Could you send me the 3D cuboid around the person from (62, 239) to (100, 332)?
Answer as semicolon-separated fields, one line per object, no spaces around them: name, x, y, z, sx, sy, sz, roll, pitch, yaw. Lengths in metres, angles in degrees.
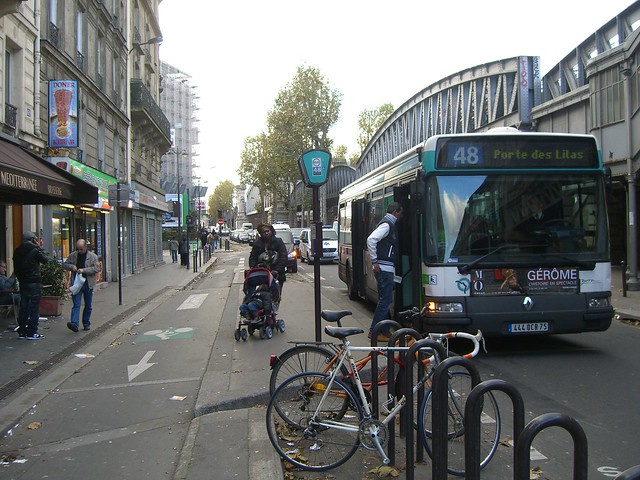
person;-5.069;0.924;12.357;0.620;1.957;0.820;0;0;-16

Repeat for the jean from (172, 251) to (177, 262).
jean;-9.760;1.083;38.725;0.318;0.708;0.228;-1;-1;40

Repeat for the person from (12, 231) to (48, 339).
person;-5.812;0.881;11.580;0.527;2.089;0.701;6;7;-17

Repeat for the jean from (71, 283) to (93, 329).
jean;-5.092;1.397;12.376;0.397;0.972;0.870;0;-1;-15

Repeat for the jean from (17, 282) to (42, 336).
jean;-5.793;1.364;11.521;0.394;1.043;0.267;0;-1;-29

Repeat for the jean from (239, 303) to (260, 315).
jean;-1.331;1.266;10.804;0.185;0.144;0.275;0;-1;14

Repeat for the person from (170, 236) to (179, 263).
person;-9.836;0.721;39.132;0.448;1.533;2.492;0;-1;-14

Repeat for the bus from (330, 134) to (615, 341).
bus;2.524;0.062;10.083;4.376;3.429;3.003;-1;-1;27

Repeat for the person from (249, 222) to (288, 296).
person;-1.029;0.600;11.518;0.645;2.003;0.635;-5;5;-13

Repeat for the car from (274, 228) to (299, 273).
car;-1.529;0.631;28.462;1.009;1.615;2.880;-1;0;-5

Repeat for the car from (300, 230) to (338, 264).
car;0.261;0.209;31.652;1.231;1.266;2.385;0;-2;-17

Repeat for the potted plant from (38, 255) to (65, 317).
potted plant;-6.358;1.135;14.047;0.820;1.308;0.729;-5;-4;38

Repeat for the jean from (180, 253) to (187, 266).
jean;-8.068;1.085;34.127;0.341;0.665;1.182;0;-1;-9

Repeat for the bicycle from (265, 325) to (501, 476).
bicycle;0.547;1.668;6.026;2.217;1.482;0.485;-1;-1;10

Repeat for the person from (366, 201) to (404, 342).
person;1.134;0.458;10.097;0.564;2.503;0.730;0;3;-11

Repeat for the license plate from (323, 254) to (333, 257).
license plate;0.339;0.803;30.467;0.574;0.134;0.290;-2;-2;34
